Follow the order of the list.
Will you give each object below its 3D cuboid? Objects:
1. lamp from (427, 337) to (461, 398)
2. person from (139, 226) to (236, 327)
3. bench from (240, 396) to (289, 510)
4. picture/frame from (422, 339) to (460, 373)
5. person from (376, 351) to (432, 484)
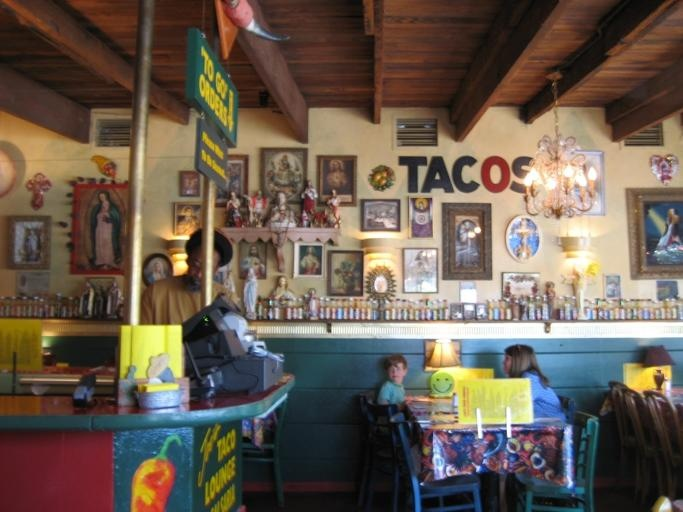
[{"bbox_3d":[1.074,1.257,7.666,0.519,0.796,0.509,0,-11,5],"label":"lamp"},{"bbox_3d":[-1.381,0.209,6.176,0.659,0.886,0.506,16,-8,-21],"label":"person"},{"bbox_3d":[-0.795,2.050,7.172,0.473,1.078,0.663,0,-6,-5],"label":"bench"},{"bbox_3d":[1.132,1.256,7.597,0.391,0.645,0.393,1,-8,-5],"label":"picture/frame"},{"bbox_3d":[0.607,1.399,6.796,0.614,0.989,0.573,-3,-8,15],"label":"person"}]
